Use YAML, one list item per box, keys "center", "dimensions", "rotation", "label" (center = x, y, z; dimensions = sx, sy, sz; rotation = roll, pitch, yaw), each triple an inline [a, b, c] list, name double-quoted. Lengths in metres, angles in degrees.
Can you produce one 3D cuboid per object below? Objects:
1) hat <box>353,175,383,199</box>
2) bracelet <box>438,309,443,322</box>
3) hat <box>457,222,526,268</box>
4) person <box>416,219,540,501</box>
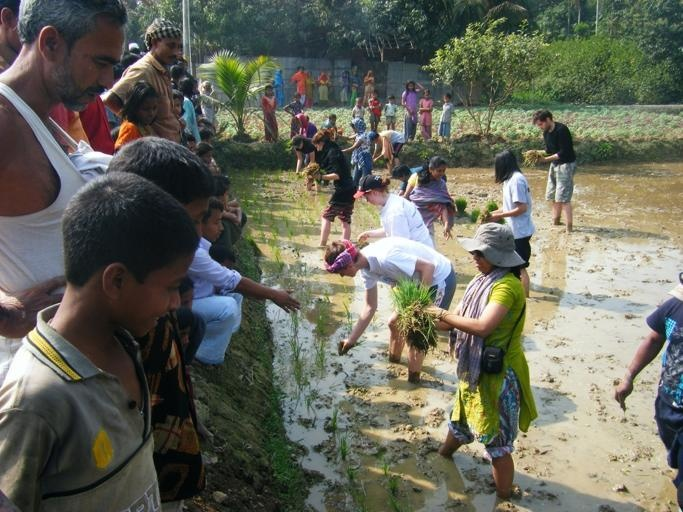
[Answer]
- center: [0.314, -0.755, 7.784]
  dimensions: [0.303, 0.174, 0.226]
  rotation: [-15, 23, 15]
  label: "hat"
- center: [0.733, 0.440, 4.992]
  dimensions: [0.045, 0.064, 0.054]
  rotation: [8, 13, 24]
  label: "bracelet"
- center: [1.085, -0.008, 4.798]
  dimensions: [0.326, 0.180, 0.349]
  rotation: [12, 23, -2]
  label: "hat"
- center: [1.040, 0.632, 4.814]
  dimensions: [0.681, 1.668, 0.411]
  rotation: [14, 18, 40]
  label: "person"
